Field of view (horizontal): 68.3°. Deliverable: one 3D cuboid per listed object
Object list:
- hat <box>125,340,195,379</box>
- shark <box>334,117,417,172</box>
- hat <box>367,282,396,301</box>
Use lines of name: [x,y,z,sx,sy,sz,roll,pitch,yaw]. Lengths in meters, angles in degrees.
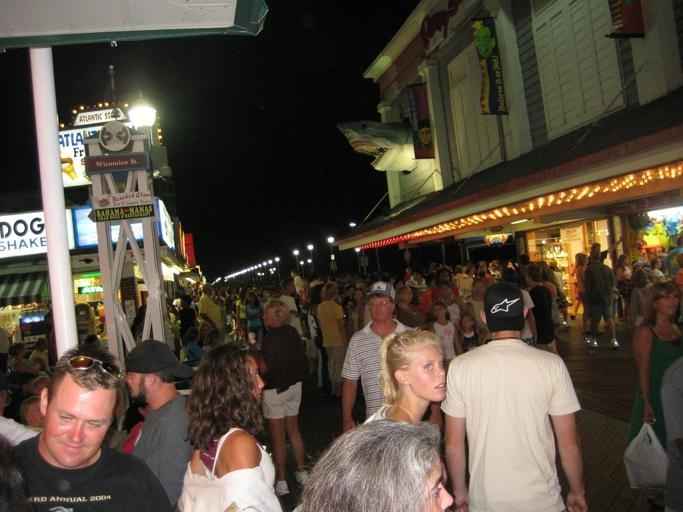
hat: [-1.412,0.812,3.900,0.460,0.318,0.341,-7,0,-27]
shark: [1.478,-4.091,18.355,2.423,1.874,1.332,-7,0,1]
hat: [0.428,0.390,5.465,0.280,0.207,0.298,-7,0,2]
